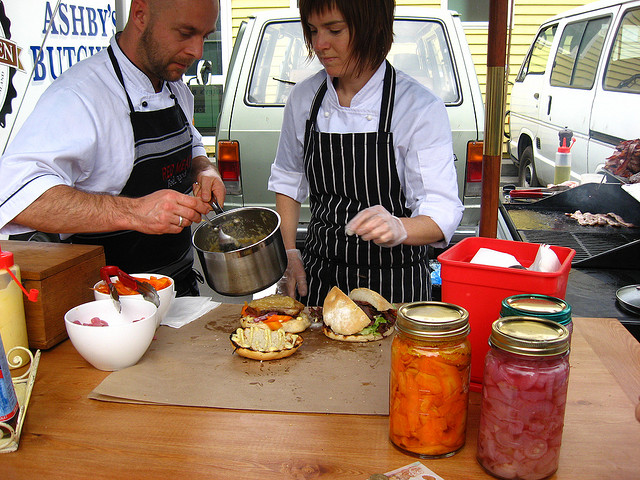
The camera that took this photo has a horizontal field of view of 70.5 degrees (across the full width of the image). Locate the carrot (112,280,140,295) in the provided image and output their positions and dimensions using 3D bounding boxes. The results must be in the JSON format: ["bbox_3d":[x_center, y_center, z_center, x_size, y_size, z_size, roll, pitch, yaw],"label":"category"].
[{"bbox_3d":[-0.751,0.174,1.751,0.075,0.025,0.056,11,9,23],"label":"carrot"}]

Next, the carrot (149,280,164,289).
[{"bbox_3d":[-0.658,0.179,1.833,0.033,0.008,0.032,16,20,-5],"label":"carrot"}]

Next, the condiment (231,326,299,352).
[{"bbox_3d":[-0.190,0.317,1.674,0.191,0.072,0.200,-10,16,-42],"label":"condiment"}]

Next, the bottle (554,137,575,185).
[{"bbox_3d":[1.918,-0.588,3.599,0.104,0.265,0.138,8,24,20],"label":"bottle"}]

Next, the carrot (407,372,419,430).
[{"bbox_3d":[0.221,0.394,1.111,0.031,0.135,0.017,12,17,40],"label":"carrot"}]

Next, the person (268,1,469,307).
[{"bbox_3d":[0.158,-0.373,2.381,0.792,1.555,1.074,-19,29,-37],"label":"person"}]

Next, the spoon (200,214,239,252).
[{"bbox_3d":[-0.411,0.000,1.938,0.035,0.198,0.101,-36,3,23],"label":"spoon"}]

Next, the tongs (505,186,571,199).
[{"bbox_3d":[1.628,-0.357,3.455,0.264,0.044,0.145,-5,12,19],"label":"tongs"}]

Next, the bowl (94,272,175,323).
[{"bbox_3d":[-0.728,0.170,1.762,0.240,0.135,0.235,3,5,0],"label":"bowl"}]

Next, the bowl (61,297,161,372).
[{"bbox_3d":[-0.717,0.310,1.556,0.265,0.166,0.270,2,4,0],"label":"bowl"}]

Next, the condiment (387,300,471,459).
[{"bbox_3d":[0.266,0.332,1.212,0.221,0.382,0.219,4,11,26],"label":"condiment"}]

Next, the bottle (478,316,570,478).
[{"bbox_3d":[0.478,0.376,1.072,0.182,0.372,0.156,3,23,7],"label":"bottle"}]

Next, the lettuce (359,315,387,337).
[{"bbox_3d":[0.201,0.325,1.734,0.074,0.025,0.073,-20,11,-36],"label":"lettuce"}]

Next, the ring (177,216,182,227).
[{"bbox_3d":[-0.594,-0.081,1.919,0.008,0.033,0.033,17,-22,-14],"label":"ring"}]

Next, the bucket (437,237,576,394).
[{"bbox_3d":[0.531,0.157,1.574,0.488,0.516,0.442,0,9,8],"label":"bucket"}]

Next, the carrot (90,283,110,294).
[{"bbox_3d":[-0.824,0.186,1.720,0.065,0.015,0.038,5,-1,28],"label":"carrot"}]

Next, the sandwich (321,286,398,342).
[{"bbox_3d":[0.151,0.259,1.764,0.227,0.107,0.215,-1,12,-28],"label":"sandwich"}]

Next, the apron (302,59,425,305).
[{"bbox_3d":[0.235,-0.230,2.417,0.682,1.197,0.335,2,23,6],"label":"apron"}]
